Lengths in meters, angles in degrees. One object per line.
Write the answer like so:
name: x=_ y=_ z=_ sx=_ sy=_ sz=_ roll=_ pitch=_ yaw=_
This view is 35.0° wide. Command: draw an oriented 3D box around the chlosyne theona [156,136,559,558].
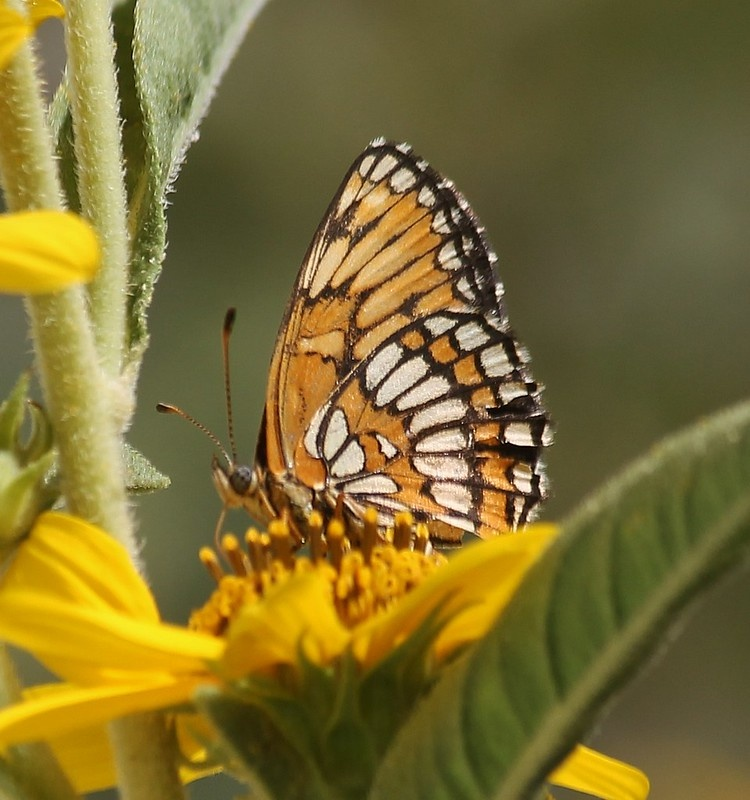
chlosyne theona: x=0.002 y=-0.019 z=1.356 sx=0.494 sy=0.516 sz=0.372 roll=4 pitch=-4 yaw=-13
